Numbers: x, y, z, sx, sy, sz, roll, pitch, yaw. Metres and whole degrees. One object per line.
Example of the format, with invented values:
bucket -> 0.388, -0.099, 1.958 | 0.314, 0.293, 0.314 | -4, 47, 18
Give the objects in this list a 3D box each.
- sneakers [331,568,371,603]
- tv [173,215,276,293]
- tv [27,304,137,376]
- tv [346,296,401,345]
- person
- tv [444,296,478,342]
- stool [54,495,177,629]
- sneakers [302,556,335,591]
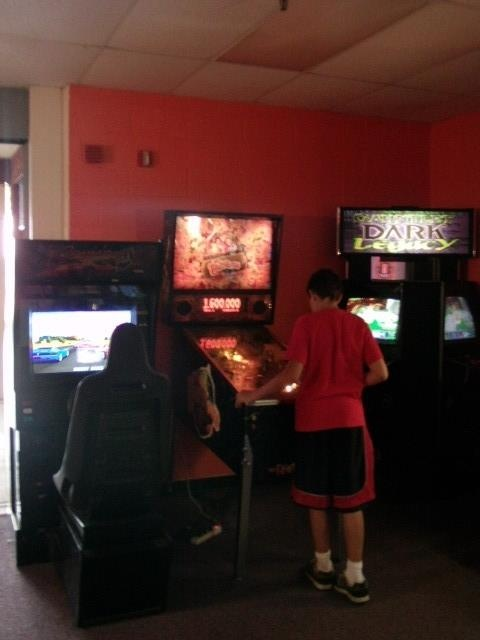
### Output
sneakers -> 0.486, 1.166, 2.586 | 0.155, 0.111, 0.135 | 2, 5, 10
tv -> -0.124, -0.399, 3.503 | 0.500, 0.333, 0.046 | -1, 7, -23
tv -> -0.812, 0.112, 3.019 | 0.514, 0.284, 0.006 | -2, 7, -38
tv -> 0.874, -0.046, 3.895 | 0.359, 0.300, 0.204 | 3, 20, 16
person -> 0.357, 0.496, 2.677 | 0.563, 1.433, 0.387 | 2, 5, 11
tv -> 1.416, -0.007, 3.851 | 0.391, 0.280, 0.136 | -4, 7, -44
stool -> -0.573, 0.980, 2.596 | 0.410, 0.471, 0.545 | 3, 3, -32
sneakers -> 0.355, 1.160, 2.702 | 0.073, 0.073, 0.176 | -1, 6, -6
